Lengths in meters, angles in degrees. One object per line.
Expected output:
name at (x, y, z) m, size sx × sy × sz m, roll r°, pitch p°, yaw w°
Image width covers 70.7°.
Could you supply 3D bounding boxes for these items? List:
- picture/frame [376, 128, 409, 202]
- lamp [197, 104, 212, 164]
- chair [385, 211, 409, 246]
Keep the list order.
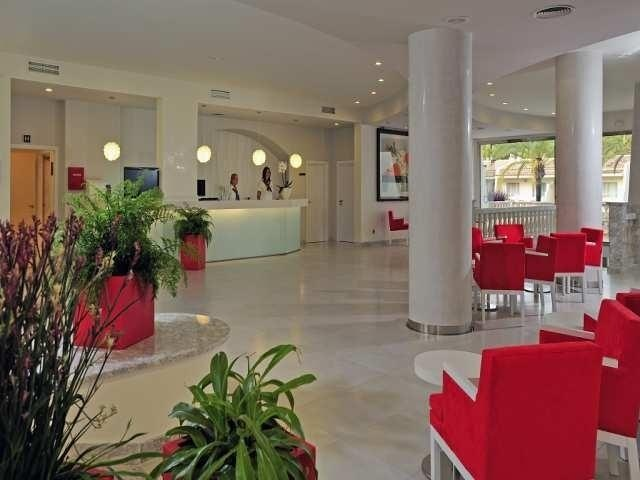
picture/frame at (2.271, -2.358, 14.088) m, size 1.235 × 2.192 × 0.174 m, roll -3°, pitch 4°, yaw -35°
lamp at (-3.044, -2.700, 11.926) m, size 0.394 × 1.308 × 1.458 m, roll -2°, pitch 4°, yaw -14°
chair at (2.400, -0.405, 14.205) m, size 0.928 × 1.315 × 0.928 m, roll -1°, pitch 3°, yaw 11°
